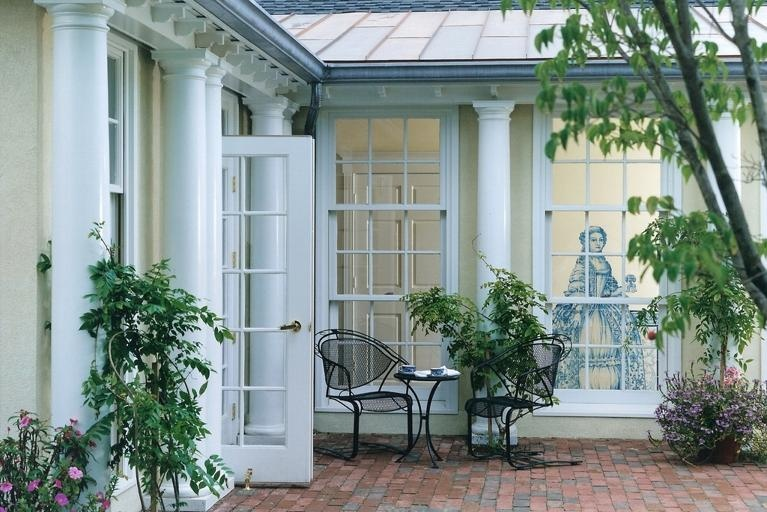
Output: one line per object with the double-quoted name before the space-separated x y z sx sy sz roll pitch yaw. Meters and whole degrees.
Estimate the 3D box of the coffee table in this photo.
"coffee table" 0.384 1.437 9.122 0.509 0.653 0.519 -2 -10 24

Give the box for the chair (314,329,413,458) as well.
"chair" -0.185 1.205 9.185 0.789 1.123 0.834 2 -6 -22

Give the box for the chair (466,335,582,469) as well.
"chair" 1.304 1.276 8.994 0.733 0.967 0.656 3 -3 -25

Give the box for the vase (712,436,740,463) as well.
"vase" 2.953 1.665 8.770 0.216 0.174 0.225 0 -8 7
